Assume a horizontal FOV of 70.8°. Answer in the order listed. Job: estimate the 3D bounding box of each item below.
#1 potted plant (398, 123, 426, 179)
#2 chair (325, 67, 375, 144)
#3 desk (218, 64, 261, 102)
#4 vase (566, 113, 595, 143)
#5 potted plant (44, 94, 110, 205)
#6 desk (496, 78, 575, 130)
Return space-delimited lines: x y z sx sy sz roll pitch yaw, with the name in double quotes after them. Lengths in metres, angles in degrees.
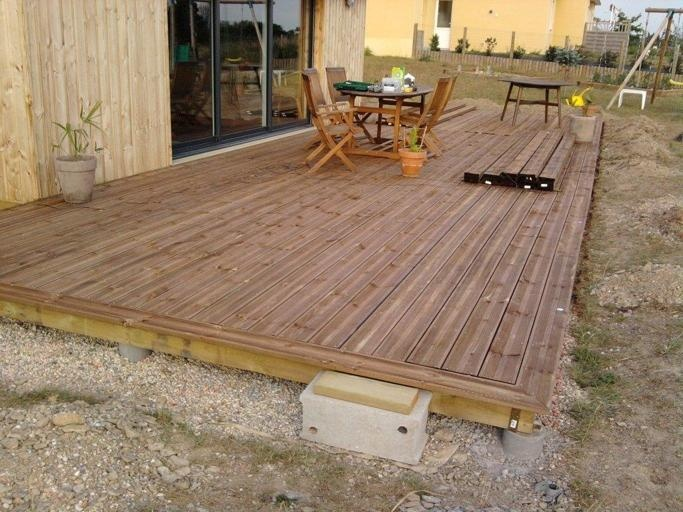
0.950 -1.428 6.579 0.490 0.625 0.436 -8 19 -20 "potted plant"
0.227 -2.643 8.377 1.052 1.129 0.876 8 23 -7 "chair"
-1.652 -2.877 7.836 0.689 0.229 0.920 12 49 2 "desk"
4.654 -2.454 9.289 0.448 0.471 0.780 14 25 24 "vase"
-2.816 -1.097 5.099 0.802 0.965 0.579 23 25 35 "potted plant"
4.281 -3.458 10.738 1.595 0.777 1.345 5 21 5 "desk"
